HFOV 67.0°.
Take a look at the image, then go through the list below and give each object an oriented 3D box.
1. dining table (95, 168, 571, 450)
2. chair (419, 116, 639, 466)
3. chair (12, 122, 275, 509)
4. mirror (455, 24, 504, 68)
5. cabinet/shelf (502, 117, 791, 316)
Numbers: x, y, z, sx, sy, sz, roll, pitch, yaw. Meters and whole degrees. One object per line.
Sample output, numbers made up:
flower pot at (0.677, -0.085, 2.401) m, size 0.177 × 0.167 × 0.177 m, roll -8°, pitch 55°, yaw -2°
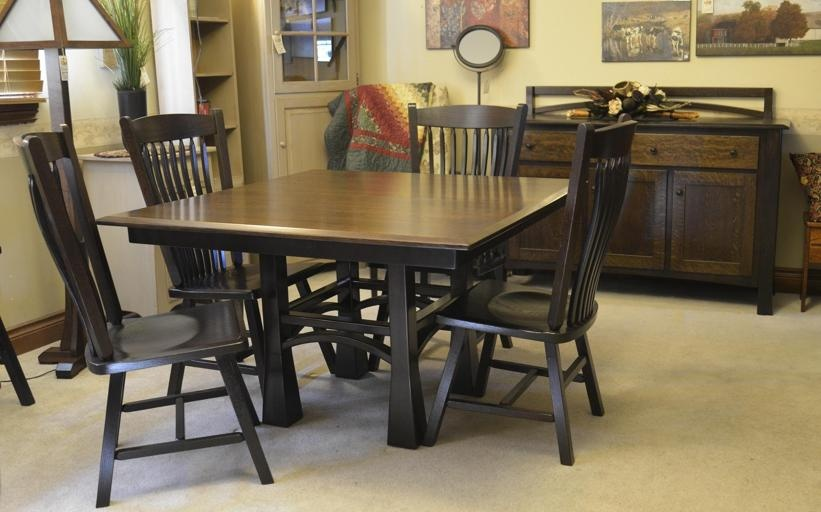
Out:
dining table at (-0.259, 0.055, 2.968) m, size 1.649 × 0.915 × 1.588 m, roll 2°, pitch 11°, yaw 17°
chair at (0.550, 0.155, 2.878) m, size 0.865 × 1.391 × 0.723 m, roll 3°, pitch 13°, yaw 30°
chair at (-1.064, 0.223, 2.613) m, size 0.733 × 1.473 × 0.743 m, roll -7°, pitch 19°, yaw -18°
mirror at (0.528, -1.603, 4.826) m, size 0.378 × 0.341 × 0.141 m, roll 3°, pitch 19°, yaw 12°
cabinet/shelf at (1.521, -0.265, 3.779) m, size 1.451 × 0.926 × 0.545 m, roll 2°, pitch 7°, yaw 19°
